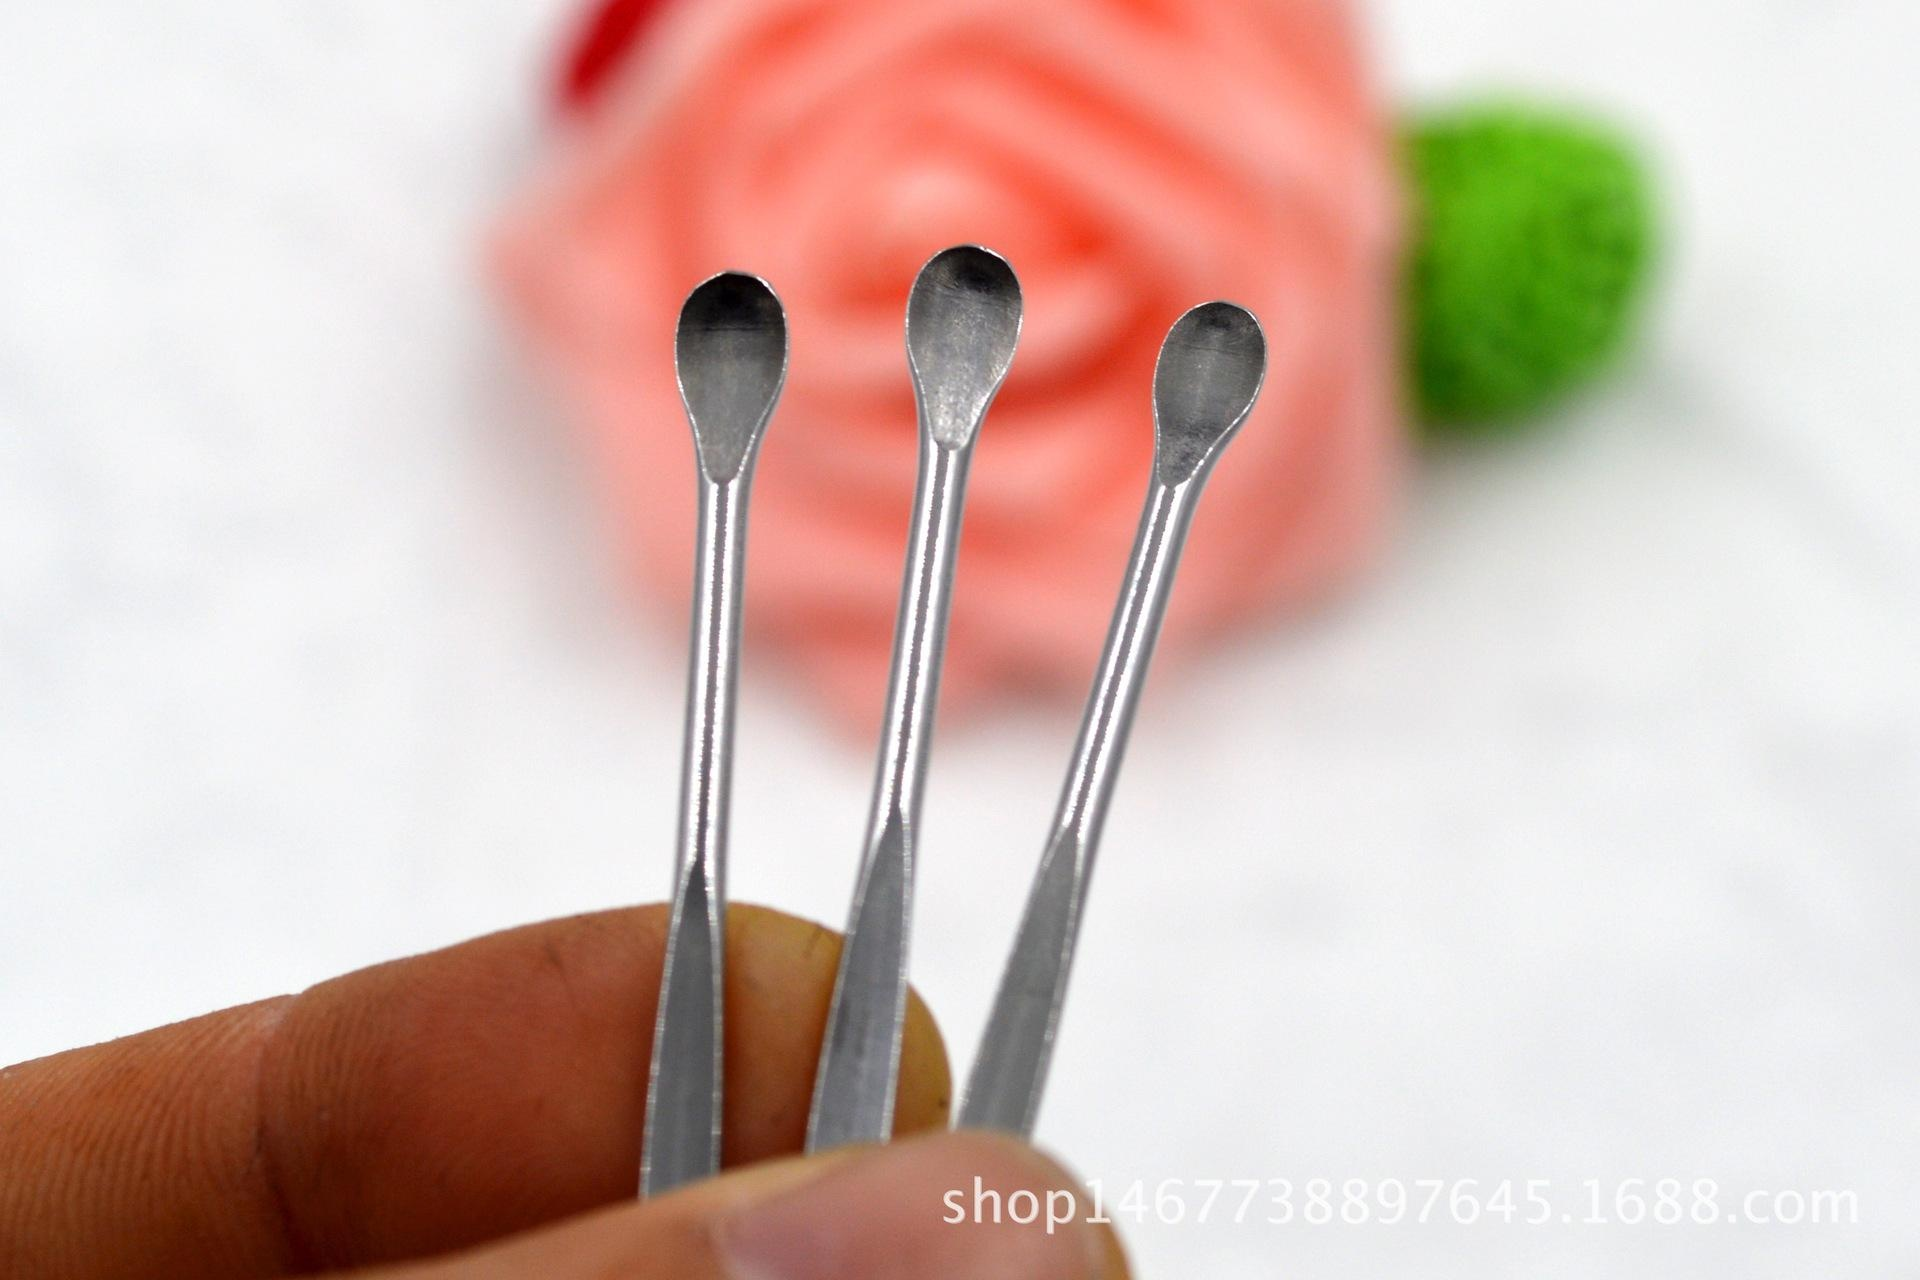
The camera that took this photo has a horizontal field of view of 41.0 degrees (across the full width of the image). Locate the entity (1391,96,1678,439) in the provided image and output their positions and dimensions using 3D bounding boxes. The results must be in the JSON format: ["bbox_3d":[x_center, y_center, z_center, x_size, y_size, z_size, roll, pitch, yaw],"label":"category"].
[{"bbox_3d":[0.148,-0.112,0.679,0.058,0.087,0.045,16,31,14],"label":"entity"}]

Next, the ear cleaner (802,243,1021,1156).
[{"bbox_3d":[-0.013,0.012,0.632,0.017,0.221,0.021,9,4,1],"label":"ear cleaner"}]

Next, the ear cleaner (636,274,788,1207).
[{"bbox_3d":[-0.057,0.014,0.581,0.023,0.268,0.026,3,6,-5],"label":"ear cleaner"}]
